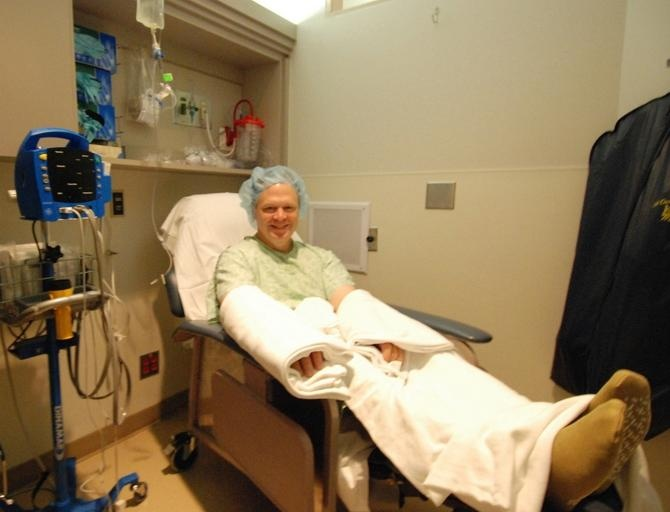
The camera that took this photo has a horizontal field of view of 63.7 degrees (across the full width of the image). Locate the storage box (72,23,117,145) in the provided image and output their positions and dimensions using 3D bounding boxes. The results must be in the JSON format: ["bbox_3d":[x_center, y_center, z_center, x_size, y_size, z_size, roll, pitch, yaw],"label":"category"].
[{"bbox_3d":[-1.129,-0.790,2.511,0.112,0.516,0.264,2,13,6],"label":"storage box"}]
